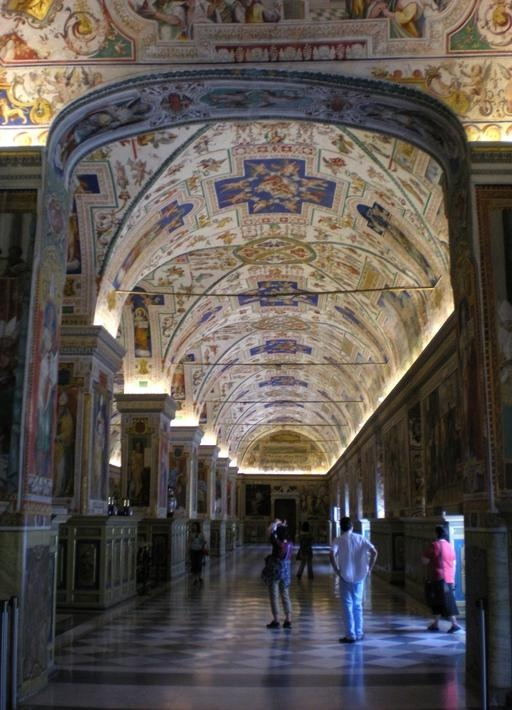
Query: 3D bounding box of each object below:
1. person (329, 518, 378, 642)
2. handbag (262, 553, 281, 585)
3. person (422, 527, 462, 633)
[{"bbox_3d":[1.317,3.039,9.300,0.557,1.668,1.312,-2,-13,7],"label":"person"},{"bbox_3d":[0.241,3.268,10.550,0.277,0.424,0.460,0,-13,1],"label":"handbag"},{"bbox_3d":[2.852,3.457,10.696,0.478,1.587,0.794,-4,-14,14],"label":"person"}]
